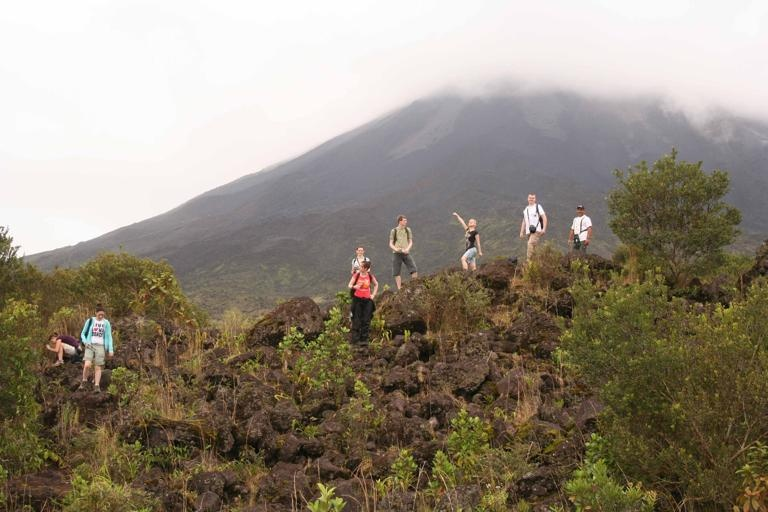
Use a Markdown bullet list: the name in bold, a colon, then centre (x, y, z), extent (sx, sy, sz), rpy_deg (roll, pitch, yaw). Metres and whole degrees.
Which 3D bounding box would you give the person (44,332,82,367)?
- **person**: centre (-8.857, 2.534, 17.989), extent (0.840, 0.883, 0.430), rpy_deg (-2, -13, -36)

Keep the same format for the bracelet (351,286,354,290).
- **bracelet**: centre (-0.908, 0.922, 19.003), extent (0.087, 0.093, 0.018), rpy_deg (19, -11, 2)

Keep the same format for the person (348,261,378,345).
- **person**: centre (-0.661, 1.333, 18.798), extent (0.837, 2.424, 1.366), rpy_deg (-11, -7, 16)

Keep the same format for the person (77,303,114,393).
- **person**: centre (-7.383, 2.300, 16.680), extent (0.790, 2.201, 1.262), rpy_deg (-5, -8, -23)

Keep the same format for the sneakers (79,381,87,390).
- **sneakers**: centre (-7.485, 3.203, 16.163), extent (0.189, 0.201, 0.129), rpy_deg (-12, -47, 31)

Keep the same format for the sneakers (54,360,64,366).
- **sneakers**: centre (-8.712, 2.843, 17.420), extent (0.308, 0.150, 0.114), rpy_deg (-1, 2, 17)
